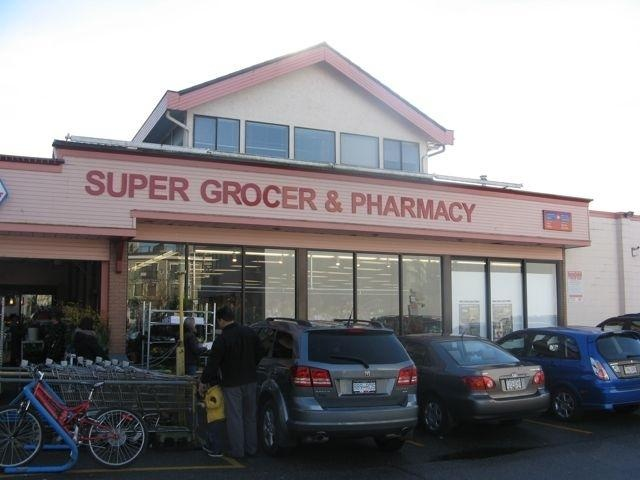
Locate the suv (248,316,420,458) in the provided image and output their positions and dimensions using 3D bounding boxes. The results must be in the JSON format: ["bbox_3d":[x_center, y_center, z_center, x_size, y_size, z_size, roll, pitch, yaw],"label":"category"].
[{"bbox_3d":[0.253,2.144,9.585,1.741,1.283,2.907,1,-4,-15],"label":"suv"}]

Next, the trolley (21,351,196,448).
[{"bbox_3d":[-3.255,2.506,10.097,2.492,0.887,1.399,18,-14,-17],"label":"trolley"}]

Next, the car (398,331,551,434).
[{"bbox_3d":[2.745,2.572,11.426,1.404,0.934,2.868,1,-3,-26],"label":"car"}]

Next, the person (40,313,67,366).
[{"bbox_3d":[-6.079,2.239,14.261,0.605,1.225,0.497,3,13,-13],"label":"person"}]
